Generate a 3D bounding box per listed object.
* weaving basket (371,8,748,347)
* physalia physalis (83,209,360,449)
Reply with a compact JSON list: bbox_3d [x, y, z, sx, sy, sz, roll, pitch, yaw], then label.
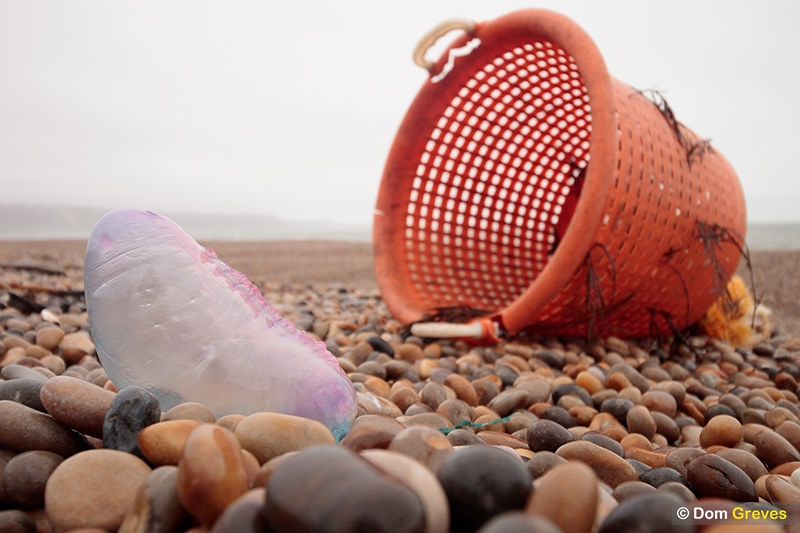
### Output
[{"bbox_3d":[0.581,-0.295,2.346,1.008,1.095,1.004,-2,10,-37],"label":"weaving basket"},{"bbox_3d":[-0.404,0.128,1.482,0.628,0.469,0.141,4,8,1],"label":"physalia physalis"}]
